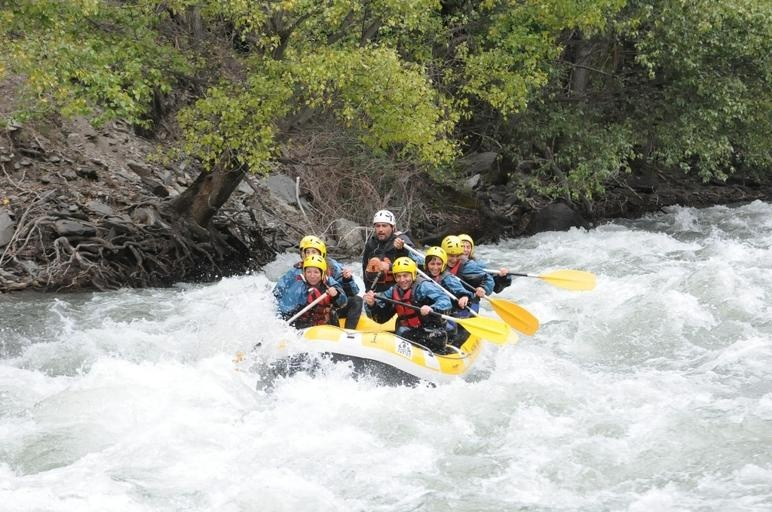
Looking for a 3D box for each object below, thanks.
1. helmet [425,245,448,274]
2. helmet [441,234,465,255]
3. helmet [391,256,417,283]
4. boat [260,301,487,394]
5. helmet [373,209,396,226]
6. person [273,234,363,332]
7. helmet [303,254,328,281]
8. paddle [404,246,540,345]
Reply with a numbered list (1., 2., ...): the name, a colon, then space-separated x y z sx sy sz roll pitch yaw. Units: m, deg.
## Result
1. helmet: 0.833 0.036 11.107 0.334 0.366 0.415 4 -10 10
2. helmet: 1.091 -0.187 11.710 0.281 0.311 0.346 -4 19 -23
3. helmet: 0.302 0.217 10.620 0.371 0.350 0.345 5 34 2
4. boat: -0.205 1.380 9.883 2.377 0.442 1.206 9 0 -10
5. helmet: -0.022 -0.615 11.771 0.266 0.262 0.355 0 -21 10
6. person: -1.176 0.471 11.401 1.399 1.569 1.052 -9 22 -30
7. helmet: -1.041 0.172 10.369 0.401 0.432 0.346 -9 36 -17
8. paddle: 1.423 0.713 11.529 2.962 0.522 0.203 34 6 5
